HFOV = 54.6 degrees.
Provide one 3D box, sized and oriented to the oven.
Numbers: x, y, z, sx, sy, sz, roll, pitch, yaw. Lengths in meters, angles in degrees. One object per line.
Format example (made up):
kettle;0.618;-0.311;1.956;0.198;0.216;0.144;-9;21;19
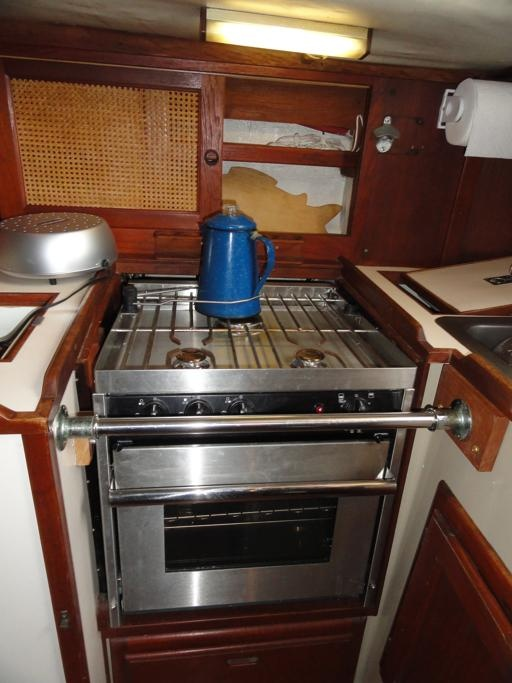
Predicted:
oven;-0.033;0.392;1.274;0.658;0.445;0.455;-1;13;-11

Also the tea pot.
tea pot;-0.027;-0.182;1.157;0.241;0.245;0.162;21;33;32
